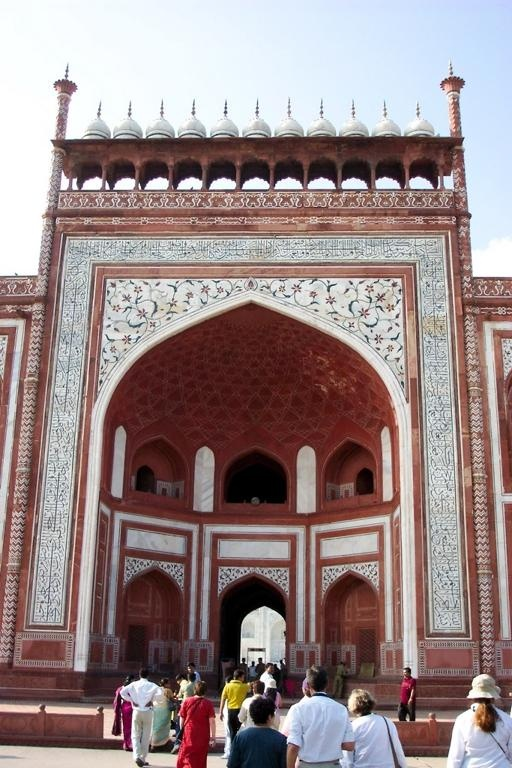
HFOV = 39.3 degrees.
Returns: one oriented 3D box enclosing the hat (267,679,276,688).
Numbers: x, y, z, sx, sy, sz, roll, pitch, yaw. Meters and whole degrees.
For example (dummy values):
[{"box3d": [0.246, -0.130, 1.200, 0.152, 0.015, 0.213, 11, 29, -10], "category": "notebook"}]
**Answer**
[{"box3d": [0.114, 2.119, 5.057, 0.070, 0.038, 0.076, 5, -5, -12], "category": "hat"}]
